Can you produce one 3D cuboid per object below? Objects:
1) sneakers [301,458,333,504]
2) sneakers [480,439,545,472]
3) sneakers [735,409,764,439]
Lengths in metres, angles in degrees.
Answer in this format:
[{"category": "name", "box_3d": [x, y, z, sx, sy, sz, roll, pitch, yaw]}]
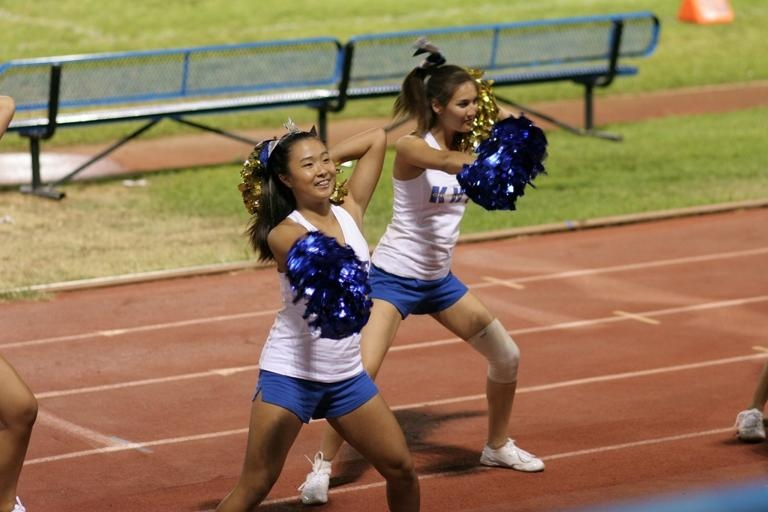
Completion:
[{"category": "sneakers", "box_3d": [-0.470, 1.582, 7.353, 0.235, 0.302, 0.139, 8, -11, 20]}, {"category": "sneakers", "box_3d": [0.930, 1.454, 7.627, 0.543, 0.178, 0.183, 3, 4, 13]}, {"category": "sneakers", "box_3d": [2.714, 1.244, 7.664, 0.221, 0.263, 0.138, 6, 21, 8]}]
